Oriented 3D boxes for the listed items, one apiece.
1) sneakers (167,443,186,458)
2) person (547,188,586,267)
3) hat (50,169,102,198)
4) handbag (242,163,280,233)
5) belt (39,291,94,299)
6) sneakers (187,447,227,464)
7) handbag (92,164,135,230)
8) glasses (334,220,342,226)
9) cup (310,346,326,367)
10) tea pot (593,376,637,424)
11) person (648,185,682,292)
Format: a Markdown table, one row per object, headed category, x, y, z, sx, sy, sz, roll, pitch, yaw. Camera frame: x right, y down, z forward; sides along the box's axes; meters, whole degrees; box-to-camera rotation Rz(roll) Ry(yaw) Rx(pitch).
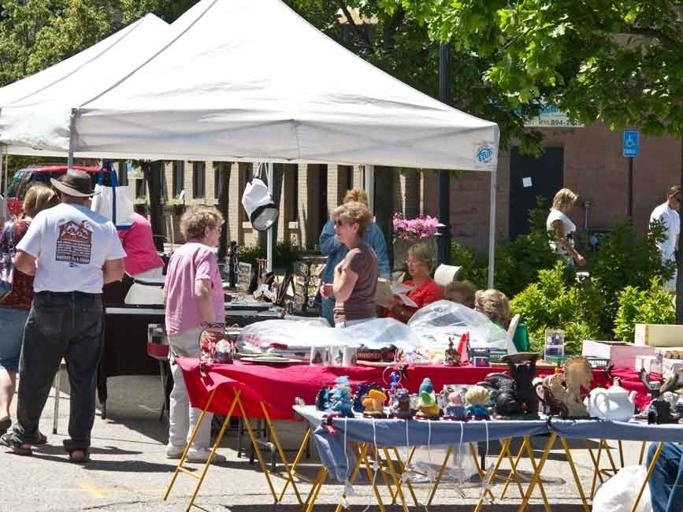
| category | x | y | z | sx | sy | sz | roll | pitch | yaw |
| --- | --- | --- | --- | --- | --- | --- | --- | --- | --- |
| sneakers | -1.661 | 1.909 | 16.497 | 0.163 | 0.121 | 0.101 | -5 | 10 | -37 |
| person | 2.864 | -0.389 | 21.113 | 0.520 | 0.952 | 1.213 | 3 | -2 | 8 |
| hat | -2.678 | -0.735 | 16.351 | 0.299 | 0.132 | 0.328 | 15 | 6 | -21 |
| handbag | -1.049 | -0.845 | 20.451 | 0.388 | 1.020 | 0.371 | 1 | 6 | -30 |
| belt | -2.681 | 0.358 | 16.134 | 0.536 | 0.056 | 0.092 | 4 | -2 | -10 |
| sneakers | -1.310 | 1.935 | 16.341 | 0.454 | 0.204 | 0.173 | 1 | 1 | -9 |
| handbag | -2.583 | -0.653 | 18.324 | 0.504 | 0.816 | 0.356 | -4 | 3 | -29 |
| glasses | -0.035 | -0.341 | 16.606 | 0.049 | 0.057 | 0.041 | 3 | 7 | -19 |
| cup | -0.231 | 0.936 | 15.717 | 0.142 | 0.097 | 0.143 | 0 | 4 | 0 |
| tea pot | 2.406 | 1.277 | 14.621 | 0.357 | 0.272 | 0.241 | 0 | 5 | -43 |
| person | 4.158 | -0.240 | 21.297 | 0.355 | 1.350 | 1.138 | 2 | -2 | 11 |
